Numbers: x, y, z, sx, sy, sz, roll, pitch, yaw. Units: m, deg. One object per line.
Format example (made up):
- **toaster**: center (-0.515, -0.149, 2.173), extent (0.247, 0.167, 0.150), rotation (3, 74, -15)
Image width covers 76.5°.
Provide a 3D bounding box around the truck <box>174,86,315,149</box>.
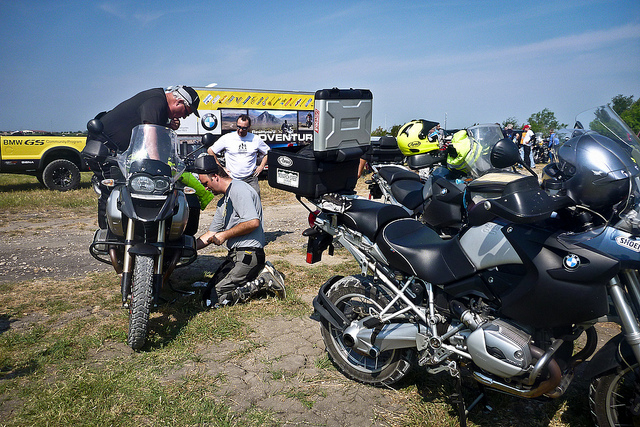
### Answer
- **truck**: center (-4.155, -5.086, 22.805), extent (8.233, 3.711, 2.329), rotation (-8, 19, -30)
